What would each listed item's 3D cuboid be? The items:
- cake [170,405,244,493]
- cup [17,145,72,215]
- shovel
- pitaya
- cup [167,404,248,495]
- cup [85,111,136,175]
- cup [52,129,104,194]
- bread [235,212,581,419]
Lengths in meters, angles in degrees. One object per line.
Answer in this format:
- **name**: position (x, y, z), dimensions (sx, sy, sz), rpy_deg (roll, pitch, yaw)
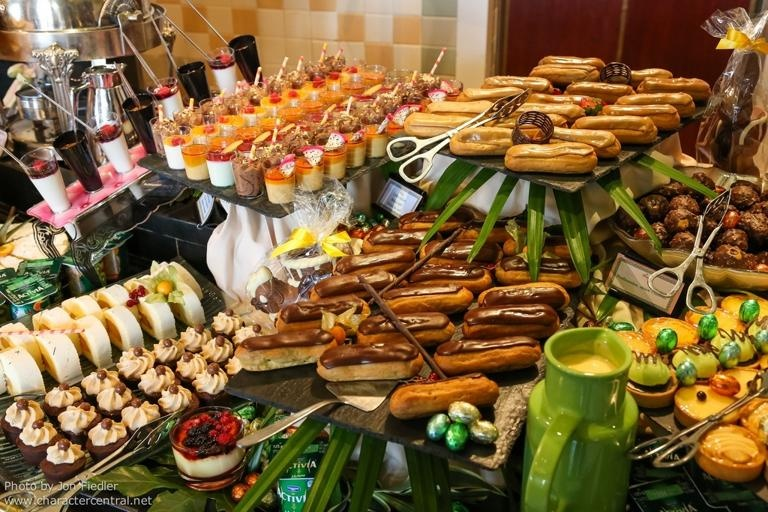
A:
- **cake**: position (-0.546, 0.605, 1.737), dimensions (0.218, 0.224, 0.151), rpy_deg (-7, 22, -12)
- **cup**: position (-1.325, -0.265, 2.152), dimensions (0.151, 0.197, 0.140), rpy_deg (-9, 25, 4)
- **shovel**: position (-0.163, 0.410, 1.424), dimensions (0.423, 0.123, 0.106), rpy_deg (-6, 22, -14)
- **pitaya**: position (-0.003, -0.508, 2.229), dimensions (0.435, 0.341, 0.665), rpy_deg (13, 27, 36)
- **cup**: position (-0.579, 0.612, 1.758), dimensions (0.258, 0.147, 0.226), rpy_deg (6, 13, -14)
- **cup**: position (-1.137, -0.437, 2.289), dimensions (0.150, 0.194, 0.142), rpy_deg (-10, 31, 6)
- **cup**: position (-1.177, -0.373, 2.224), dimensions (0.143, 0.254, 0.142), rpy_deg (-4, 36, 3)
- **bread**: position (-0.020, 0.102, 1.681), dimensions (0.803, 0.093, 0.450), rpy_deg (-2, 37, -2)
